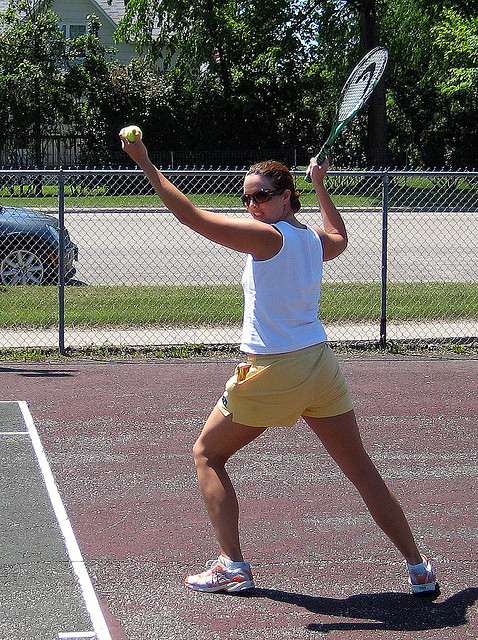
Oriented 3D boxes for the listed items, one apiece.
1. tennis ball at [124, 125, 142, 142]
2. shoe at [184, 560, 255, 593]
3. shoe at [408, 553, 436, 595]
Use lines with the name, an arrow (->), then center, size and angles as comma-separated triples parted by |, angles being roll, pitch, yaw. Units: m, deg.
tennis ball -> -0.413, -0.733, 3.262 | 0.065, 0.067, 0.185 | 0, 10, -7
shoe -> -0.070, 1.138, 3.717 | 0.348, 0.128, 0.125 | -1, -6, 15
shoe -> 0.809, 1.150, 3.705 | 0.085, 0.096, 0.195 | -4, 4, 7
